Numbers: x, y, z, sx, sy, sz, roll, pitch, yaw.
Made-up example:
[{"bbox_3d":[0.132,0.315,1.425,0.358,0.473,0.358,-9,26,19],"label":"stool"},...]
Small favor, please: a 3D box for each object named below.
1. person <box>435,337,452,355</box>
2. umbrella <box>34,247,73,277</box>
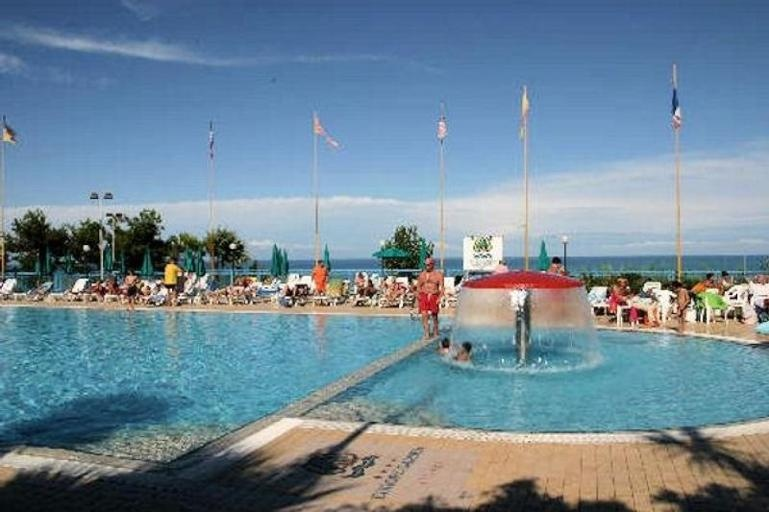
[{"bbox_3d":[1.478,2.289,15.056,0.346,0.227,0.751,-1,-3,1],"label":"person"},{"bbox_3d":[-25.180,0.443,45.741,1.725,1.748,2.013,2,5,19],"label":"umbrella"}]
